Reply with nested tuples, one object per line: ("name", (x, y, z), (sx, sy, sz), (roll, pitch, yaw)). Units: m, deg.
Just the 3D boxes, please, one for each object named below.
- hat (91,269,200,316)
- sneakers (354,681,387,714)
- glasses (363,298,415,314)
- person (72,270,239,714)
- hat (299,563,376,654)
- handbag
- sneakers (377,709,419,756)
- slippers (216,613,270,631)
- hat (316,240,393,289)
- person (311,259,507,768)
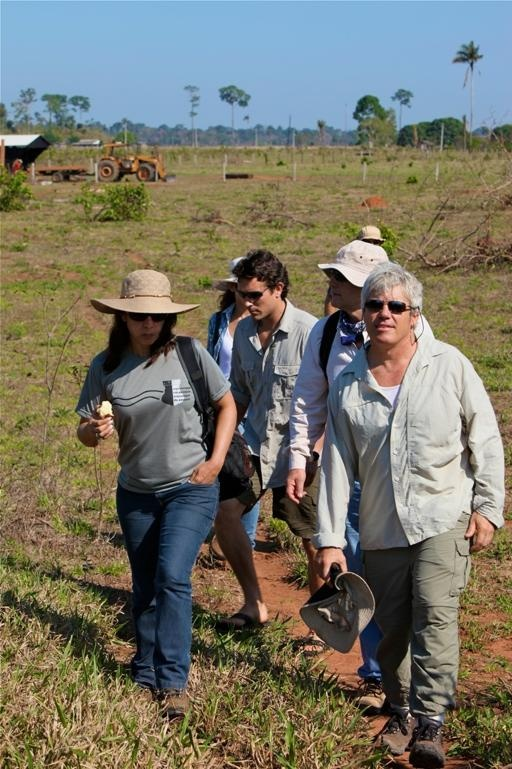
("hat", (-0.504, -0.387, 3.217), (0.313, 0.121, 0.326), (0, 2, -6))
("sneakers", (0.553, 1.493, 3.382), (0.103, 0.115, 0.292), (-3, -13, 9))
("glasses", (0.513, -0.303, 2.792), (0.174, 0.055, 0.082), (3, 11, 8))
("person", (-0.409, 0.409, 3.086), (0.703, 1.769, 0.947), (-1, 12, -14))
("hat", (0.341, 0.950, 2.983), (0.235, 0.103, 0.290), (32, 14, 12))
("handbag", (-0.136, 0.312, 3.538), (0.236, 0.400, 0.287), (-14, 27, 5))
("sneakers", (0.614, 1.452, 3.022), (0.106, 0.121, 0.295), (18, 1, 19))
("slippers", (-0.066, 1.376, 4.119), (0.283, 0.068, 0.102), (8, -8, -30))
("hat", (0.510, -0.600, 3.584), (0.345, 0.151, 0.305), (6, 5, -23))
("person", (0.641, 0.602, 2.830), (0.664, 2.126, 0.834), (-4, 13, -27))
